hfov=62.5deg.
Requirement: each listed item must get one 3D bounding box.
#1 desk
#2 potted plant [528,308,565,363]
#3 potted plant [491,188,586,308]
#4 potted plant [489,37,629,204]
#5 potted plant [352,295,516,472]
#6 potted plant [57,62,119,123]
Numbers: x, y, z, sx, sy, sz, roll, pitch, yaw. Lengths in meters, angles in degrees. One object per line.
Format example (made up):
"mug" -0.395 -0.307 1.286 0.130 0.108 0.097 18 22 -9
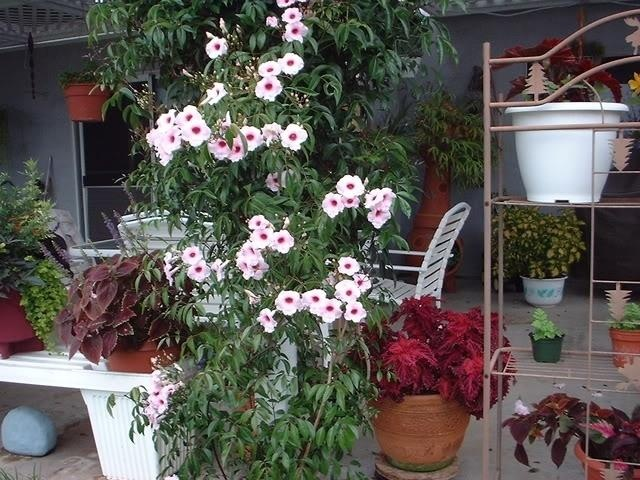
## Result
"desk" -0.796 0.395 2.466 0.754 0.549 0.694 8 10 -43
"potted plant" 1.405 0.600 3.243 0.202 0.284 0.201 -3 5 -2
"potted plant" 2.099 0.178 5.057 0.659 0.864 0.842 9 8 28
"potted plant" 0.823 -0.390 1.821 0.449 0.370 0.468 0 1 9
"potted plant" 0.372 0.528 2.407 0.829 0.858 0.636 0 1 -6
"potted plant" -1.802 -1.163 4.096 0.349 0.407 0.398 10 12 29
